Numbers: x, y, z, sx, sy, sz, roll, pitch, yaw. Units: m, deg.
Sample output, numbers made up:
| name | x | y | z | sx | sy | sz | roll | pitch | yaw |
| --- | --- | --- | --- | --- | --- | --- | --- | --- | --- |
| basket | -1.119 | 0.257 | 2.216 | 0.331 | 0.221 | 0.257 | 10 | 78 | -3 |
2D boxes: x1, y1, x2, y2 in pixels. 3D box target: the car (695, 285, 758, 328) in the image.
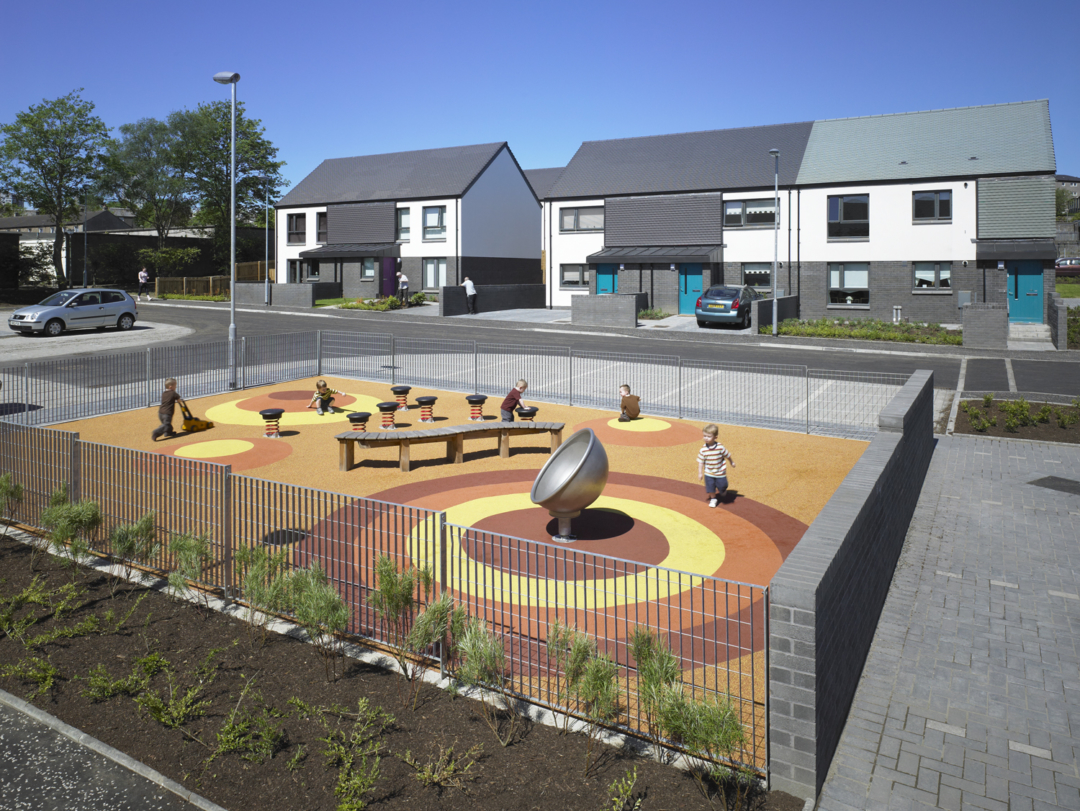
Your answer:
| name | x | y | z | sx | sy | sz | roll | pitch | yaw |
| --- | --- | --- | --- | --- | --- | --- | --- | --- | --- |
| car | 9.100 | -4.867 | 38.729 | 2.758 | 2.070 | 1.887 | 2 | 11 | 4 |

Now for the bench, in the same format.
| name | x | y | z | sx | sy | sz | roll | pitch | yaw |
| --- | --- | --- | --- | --- | --- | --- | --- | --- | --- |
| bench | -2.033 | 0.709 | 16.943 | 4.646 | 0.793 | 1.791 | -4 | 12 | -22 |

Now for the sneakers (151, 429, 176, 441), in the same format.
| name | x | y | z | sx | sy | sz | roll | pitch | yaw |
| --- | --- | --- | --- | --- | --- | --- | --- | --- | --- |
| sneakers | -8.668 | 0.653 | 18.053 | 0.173 | 0.246 | 0.573 | 14 | 16 | 38 |

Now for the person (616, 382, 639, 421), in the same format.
| name | x | y | z | sx | sy | sz | roll | pitch | yaw |
| --- | --- | --- | --- | --- | --- | --- | --- | --- | --- |
| person | 2.263 | -0.117 | 20.384 | 0.675 | 1.126 | 0.815 | -3 | 15 | -4 |

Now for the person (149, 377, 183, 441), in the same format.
| name | x | y | z | sx | sy | sz | roll | pitch | yaw |
| --- | --- | --- | --- | --- | --- | --- | --- | --- | --- |
| person | -8.943 | -0.093 | 18.729 | 0.664 | 1.376 | 2.349 | -4 | 12 | -25 |

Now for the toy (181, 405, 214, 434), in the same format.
| name | x | y | z | sx | sy | sz | roll | pitch | yaw |
| --- | --- | --- | --- | --- | --- | --- | --- | --- | --- |
| toy | -8.238 | 0.273 | 18.828 | 0.679 | 0.638 | 0.586 | -4 | 12 | -25 |

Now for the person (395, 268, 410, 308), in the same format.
| name | x | y | z | sx | sy | sz | roll | pitch | yaw |
| --- | --- | --- | --- | --- | --- | --- | --- | --- | --- |
| person | -8.063 | -6.697 | 46.079 | 0.590 | 1.733 | 1.482 | 1 | 11 | 1 |

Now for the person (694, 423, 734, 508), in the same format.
| name | x | y | z | sx | sy | sz | roll | pitch | yaw |
| --- | --- | --- | --- | --- | --- | --- | --- | --- | --- |
| person | 3.156 | 0.889 | 14.063 | 0.515 | 1.509 | 2.100 | 3 | 11 | 14 |

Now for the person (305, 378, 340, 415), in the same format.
| name | x | y | z | sx | sy | sz | roll | pitch | yaw |
| --- | --- | --- | --- | --- | --- | --- | --- | --- | --- |
| person | -5.885 | -0.312 | 21.380 | 0.775 | 0.811 | 1.653 | -2 | 12 | -15 |

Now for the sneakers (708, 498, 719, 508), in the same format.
| name | x | y | z | sx | sy | sz | roll | pitch | yaw |
| --- | --- | --- | --- | --- | --- | --- | --- | --- | --- |
| sneakers | 3.000 | 1.689 | 13.622 | 0.117 | 0.171 | 0.044 | -1 | -9 | 22 |
